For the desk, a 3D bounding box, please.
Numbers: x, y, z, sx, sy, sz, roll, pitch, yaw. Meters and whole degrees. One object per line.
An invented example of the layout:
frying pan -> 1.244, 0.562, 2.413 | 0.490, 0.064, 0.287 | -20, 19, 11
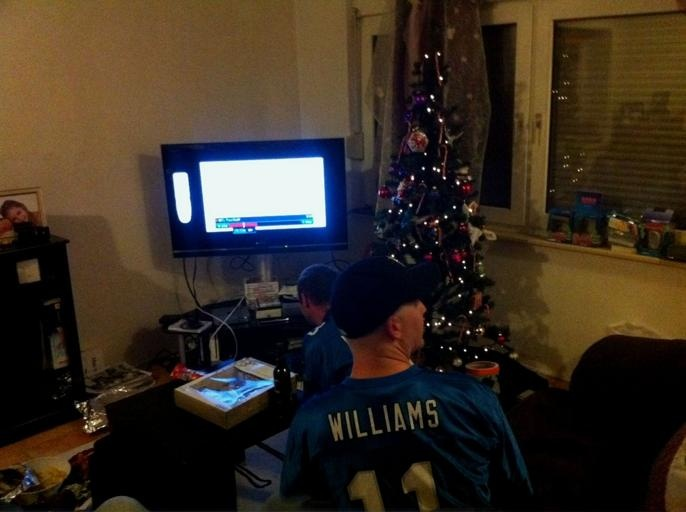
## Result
desk -> -0.698, 0.883, 2.570 | 0.895, 0.479, 0.504 | 0, 11, 12

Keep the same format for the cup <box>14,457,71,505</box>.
cup -> -1.471, 1.101, 2.796 | 0.217, 0.139, 0.218 | -3, 11, 1

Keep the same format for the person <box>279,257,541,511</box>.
person -> 0.307, 0.537, 2.383 | 0.940, 1.087, 0.713 | 7, 39, 31
